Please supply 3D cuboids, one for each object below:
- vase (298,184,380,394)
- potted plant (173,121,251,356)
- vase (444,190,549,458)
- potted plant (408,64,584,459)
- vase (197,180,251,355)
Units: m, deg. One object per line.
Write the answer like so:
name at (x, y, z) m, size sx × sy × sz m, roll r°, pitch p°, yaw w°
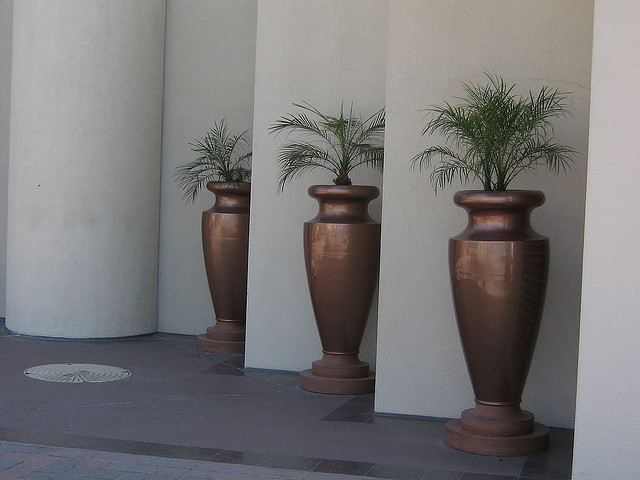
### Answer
vase at (0.149, 0.355, 4.173) m, size 0.564 × 1.514 × 0.276 m, roll 1°, pitch 1°, yaw -3°
potted plant at (-0.830, 0.025, 5.354) m, size 1.131 × 2.013 × 0.917 m, roll 0°, pitch -4°, yaw -14°
vase at (0.959, 0.439, 3.063) m, size 0.517 × 0.945 × 0.305 m, roll 2°, pitch 1°, yaw 17°
potted plant at (0.991, 0.164, 3.186) m, size 1.044 × 1.921 × 0.995 m, roll 2°, pitch -3°, yaw -13°
vase at (-0.913, 0.249, 5.294) m, size 0.485 × 1.585 × 0.212 m, roll 2°, pitch 1°, yaw 4°
